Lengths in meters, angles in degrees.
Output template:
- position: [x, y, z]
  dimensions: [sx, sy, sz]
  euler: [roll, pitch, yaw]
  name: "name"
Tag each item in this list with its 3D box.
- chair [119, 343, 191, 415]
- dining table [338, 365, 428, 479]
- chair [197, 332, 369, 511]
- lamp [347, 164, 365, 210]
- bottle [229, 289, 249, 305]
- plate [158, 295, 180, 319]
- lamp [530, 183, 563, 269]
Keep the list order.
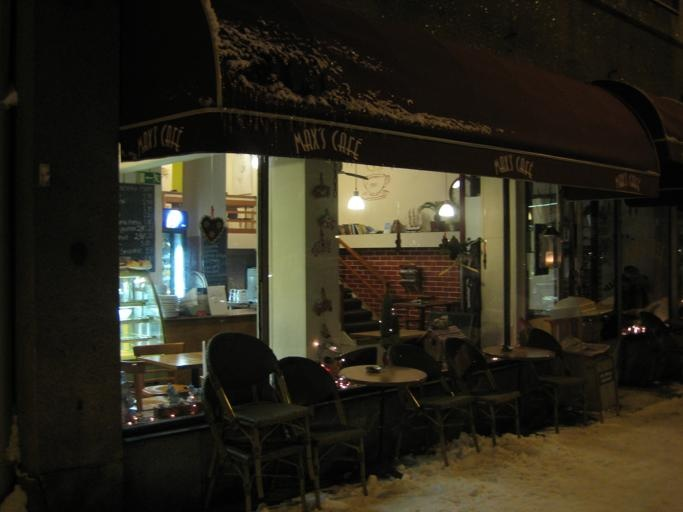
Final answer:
- position: [-1.737, 1.077, 6.212]
  dimensions: [0.427, 0.605, 0.547]
  euler: [-1, -1, 33]
  name: "chair"
- position: [0.443, 1.514, 6.892]
  dimensions: [0.965, 1.095, 0.933]
  euler: [1, 4, 12]
  name: "dining table"
- position: [-0.543, 1.425, 6.022]
  dimensions: [1.247, 1.417, 0.789]
  euler: [-5, -1, -36]
  name: "chair"
- position: [0.160, -0.738, 7.790]
  dimensions: [0.191, 0.447, 0.403]
  euler: [-5, -1, 6]
  name: "lamp"
- position: [-1.063, 0.405, 6.971]
  dimensions: [0.247, 0.138, 0.070]
  euler: [-6, -1, 35]
  name: "bottle"
- position: [-1.724, 0.500, 6.923]
  dimensions: [0.211, 0.201, 0.216]
  euler: [0, -1, 19]
  name: "plate"
- position: [2.795, -0.382, 9.422]
  dimensions: [0.429, 1.264, 0.808]
  euler: [-6, -1, 18]
  name: "lamp"
